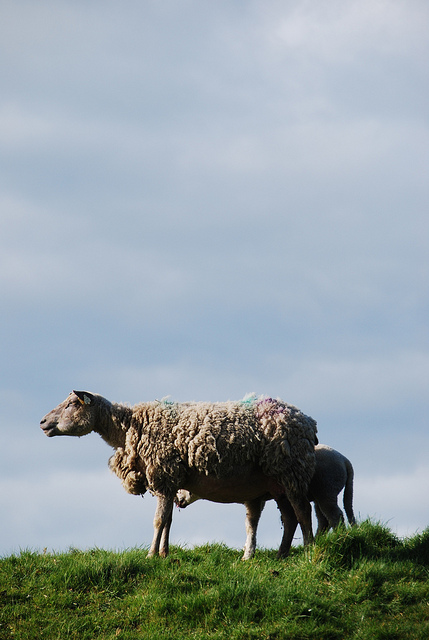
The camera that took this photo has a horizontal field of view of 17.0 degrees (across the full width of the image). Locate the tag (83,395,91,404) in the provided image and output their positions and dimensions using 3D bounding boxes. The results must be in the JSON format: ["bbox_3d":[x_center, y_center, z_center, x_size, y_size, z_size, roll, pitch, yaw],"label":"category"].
[{"bbox_3d":[-1.798,1.108,19.819,0.067,0.125,0.024,-1,0,-2],"label":"tag"}]

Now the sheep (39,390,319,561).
[{"bbox_3d":[-0.310,2.083,19.290,3.186,2.365,1.419,-2,-6,4],"label":"sheep"}]
